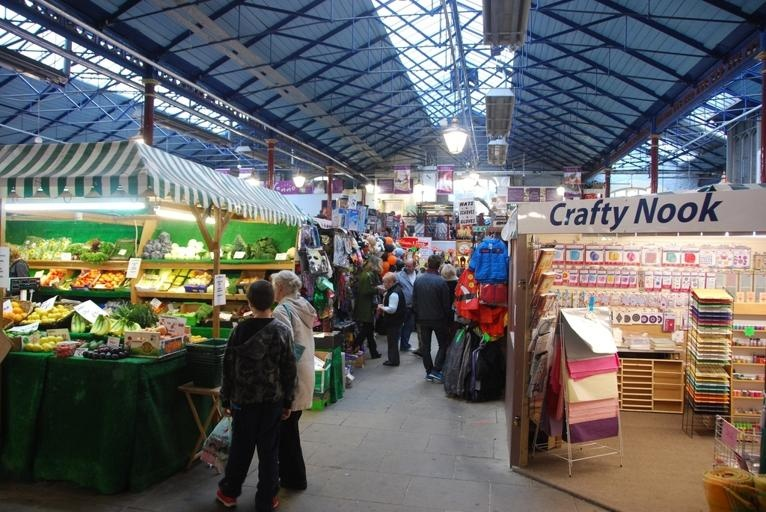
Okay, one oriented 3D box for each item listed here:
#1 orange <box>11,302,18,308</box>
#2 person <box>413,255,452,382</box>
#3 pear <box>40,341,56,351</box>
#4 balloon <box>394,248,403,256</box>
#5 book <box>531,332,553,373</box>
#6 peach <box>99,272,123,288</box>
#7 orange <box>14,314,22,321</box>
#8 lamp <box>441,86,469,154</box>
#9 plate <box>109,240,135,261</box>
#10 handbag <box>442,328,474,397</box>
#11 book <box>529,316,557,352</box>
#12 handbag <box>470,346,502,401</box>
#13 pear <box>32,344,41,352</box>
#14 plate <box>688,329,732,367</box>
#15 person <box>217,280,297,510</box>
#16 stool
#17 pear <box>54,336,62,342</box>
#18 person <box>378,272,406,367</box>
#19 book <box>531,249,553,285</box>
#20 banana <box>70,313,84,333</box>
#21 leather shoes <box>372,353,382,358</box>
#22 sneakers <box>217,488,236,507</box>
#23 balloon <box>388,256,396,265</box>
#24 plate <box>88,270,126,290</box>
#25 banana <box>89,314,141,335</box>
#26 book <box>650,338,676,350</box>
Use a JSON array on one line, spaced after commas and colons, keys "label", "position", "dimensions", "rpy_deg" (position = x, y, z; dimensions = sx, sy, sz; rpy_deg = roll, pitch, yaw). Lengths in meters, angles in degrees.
[{"label": "orange", "position": [-4.752, 0.629, 6.918], "dimensions": [0.082, 0.066, 0.068], "rpy_deg": [30, 21, 15]}, {"label": "person", "position": [0.850, 1.078, 9.089], "dimensions": [0.654, 2.072, 0.683], "rpy_deg": [1, 13, 4]}, {"label": "pear", "position": [-3.917, 1.057, 6.298], "dimensions": [0.128, 0.091, 0.167], "rpy_deg": [10, -1, 12]}, {"label": "balloon", "position": [0.365, -0.094, 12.726], "dimensions": [0.143, 0.188, 0.198], "rpy_deg": [5, -1, 42]}, {"label": "book", "position": [1.886, 1.144, 6.369], "dimensions": [0.272, 0.586, 0.161], "rpy_deg": [3, 28, 30]}, {"label": "peach", "position": [-4.175, 0.371, 8.218], "dimensions": [0.240, 0.087, 0.289], "rpy_deg": [0, 21, -7]}, {"label": "orange", "position": [-4.591, 0.791, 6.734], "dimensions": [0.074, 0.070, 0.072], "rpy_deg": [-4, -6, 3]}, {"label": "lamp", "position": [1.672, -2.780, 12.322], "dimensions": [0.548, 0.815, 2.223], "rpy_deg": [2, 12, 8]}, {"label": "plate", "position": [-4.116, -0.105, 8.519], "dimensions": [0.363, 0.250, 0.431], "rpy_deg": [-1, 12, -6]}, {"label": "handbag", "position": [1.198, 1.661, 8.432], "dimensions": [0.449, 1.079, 0.501], "rpy_deg": [2, 13, 6]}, {"label": "book", "position": [1.901, 0.912, 6.354], "dimensions": [0.145, 0.386, 0.310], "rpy_deg": [8, 1, 30]}, {"label": "handbag", "position": [1.619, 1.782, 8.275], "dimensions": [0.576, 0.940, 0.196], "rpy_deg": [-4, 13, -19]}, {"label": "pear", "position": [-4.053, 1.076, 6.259], "dimensions": [0.081, 0.092, 0.080], "rpy_deg": [13, -20, -37]}, {"label": "plate", "position": [4.408, 1.246, 7.224], "dimensions": [0.423, 0.421, 0.491], "rpy_deg": [-1, -4, -13]}, {"label": "person", "position": [-1.311, 1.457, 5.589], "dimensions": [0.685, 2.332, 0.602], "rpy_deg": [4, 13, 17]}, {"label": "stool", "position": [-2.034, 1.998, 6.739], "dimensions": [0.538, 1.025, 1.167], "rpy_deg": [1, 4, 9]}, {"label": "pear", "position": [-3.902, 1.001, 6.441], "dimensions": [0.076, 0.062, 0.064], "rpy_deg": [16, 7, 16]}, {"label": "person", "position": [0.184, 1.213, 9.797], "dimensions": [0.446, 1.794, 0.715], "rpy_deg": [1, 13, 2]}, {"label": "book", "position": [1.900, 0.134, 6.408], "dimensions": [0.064, 0.464, 0.447], "rpy_deg": [24, 16, 32]}, {"label": "banana", "position": [-3.909, 0.862, 6.847], "dimensions": [0.175, 0.216, 0.127], "rpy_deg": [5, 13, 20]}, {"label": "leather shoes", "position": [-0.105, 1.965, 10.537], "dimensions": [0.077, 0.095, 0.229], "rpy_deg": [-1, 9, 26]}, {"label": "sneakers", "position": [-1.691, 2.580, 5.762], "dimensions": [0.111, 0.123, 0.279], "rpy_deg": [6, 2, -38]}, {"label": "balloon", "position": [0.225, 0.110, 12.161], "dimensions": [0.177, 0.201, 0.173], "rpy_deg": [7, 30, 14]}, {"label": "plate", "position": [-4.181, 0.379, 8.204], "dimensions": [0.456, 0.203, 0.347], "rpy_deg": [0, 12, -3]}, {"label": "banana", "position": [-3.362, 0.889, 6.714], "dimensions": [0.716, 0.210, 0.231], "rpy_deg": [4, 13, 18]}, {"label": "book", "position": [4.108, 1.289, 7.821], "dimensions": [0.348, 0.147, 0.136], "rpy_deg": [1, 13, 2]}]
